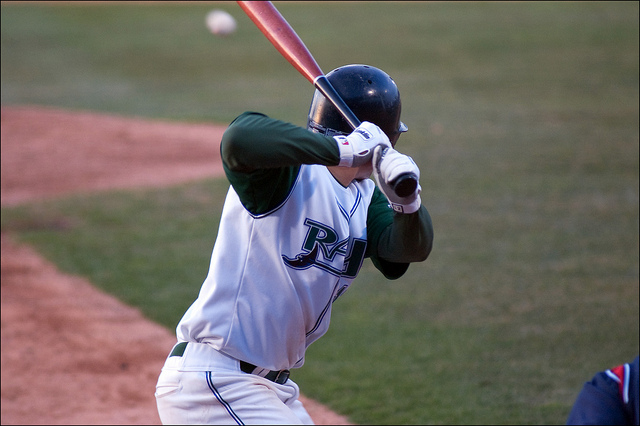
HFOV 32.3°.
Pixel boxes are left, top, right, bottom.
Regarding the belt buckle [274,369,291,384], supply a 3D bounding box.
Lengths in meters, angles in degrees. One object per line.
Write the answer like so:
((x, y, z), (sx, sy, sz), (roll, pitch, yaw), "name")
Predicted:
((-0.589, 2.458, 16.811), (0.055, 0.163, 0.173), (31, 12, 5), "belt buckle")
